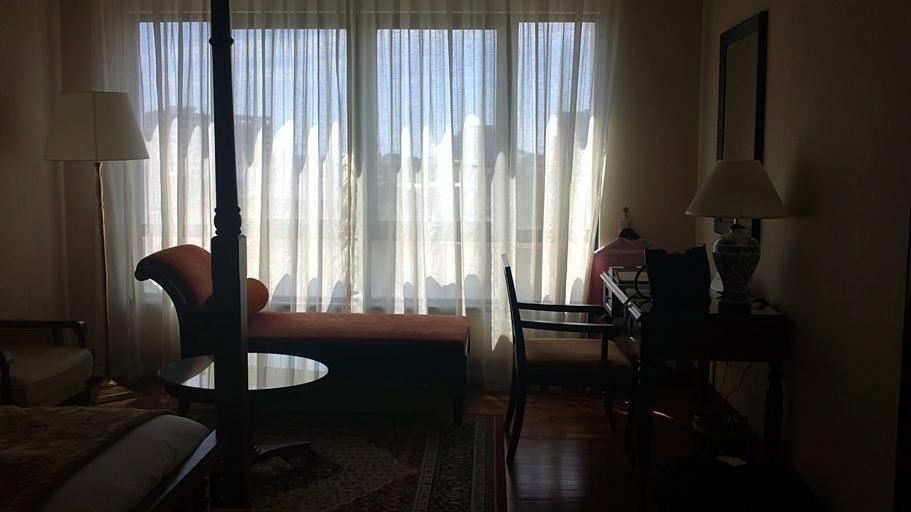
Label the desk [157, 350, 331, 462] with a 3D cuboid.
[{"bbox_3d":[-1.445,1.001,5.124,1.003,0.592,0.977,2,15,-1],"label":"desk"}]

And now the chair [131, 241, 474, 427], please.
[{"bbox_3d":[-1.072,0.559,6.010,2.720,1.341,1.281,-1,6,-3],"label":"chair"}]

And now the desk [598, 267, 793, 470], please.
[{"bbox_3d":[1.738,0.574,5.113,0.973,0.834,1.658,1,3,4],"label":"desk"}]

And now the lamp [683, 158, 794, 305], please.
[{"bbox_3d":[2.064,-0.251,5.502,0.931,1.319,0.926,0,6,18],"label":"lamp"}]
